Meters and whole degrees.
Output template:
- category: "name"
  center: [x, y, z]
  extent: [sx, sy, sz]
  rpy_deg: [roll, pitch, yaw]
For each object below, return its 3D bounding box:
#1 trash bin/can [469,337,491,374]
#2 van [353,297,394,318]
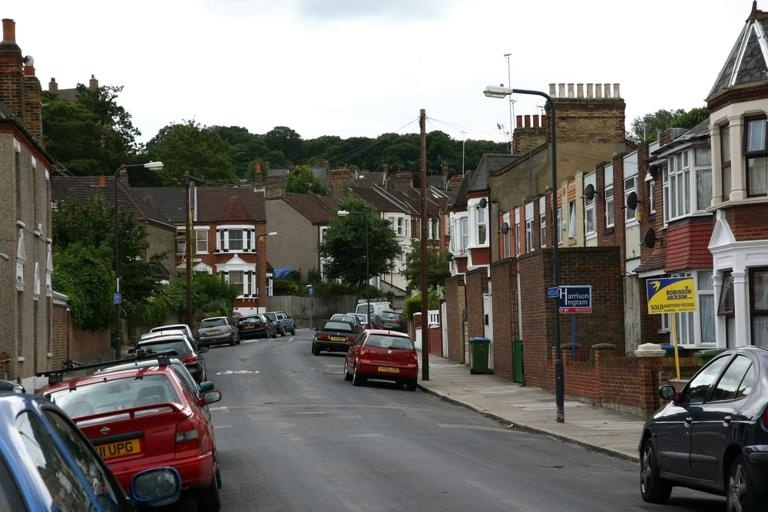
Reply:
- category: "trash bin/can"
  center: [3.867, 4.062, 47.194]
  extent: [0.844, 1.593, 1.030]
  rpy_deg: [2, 3, -1]
- category: "van"
  center: [-0.563, 3.972, 89.270]
  extent: [1.362, 1.307, 2.510]
  rpy_deg: [0, 1, 19]
